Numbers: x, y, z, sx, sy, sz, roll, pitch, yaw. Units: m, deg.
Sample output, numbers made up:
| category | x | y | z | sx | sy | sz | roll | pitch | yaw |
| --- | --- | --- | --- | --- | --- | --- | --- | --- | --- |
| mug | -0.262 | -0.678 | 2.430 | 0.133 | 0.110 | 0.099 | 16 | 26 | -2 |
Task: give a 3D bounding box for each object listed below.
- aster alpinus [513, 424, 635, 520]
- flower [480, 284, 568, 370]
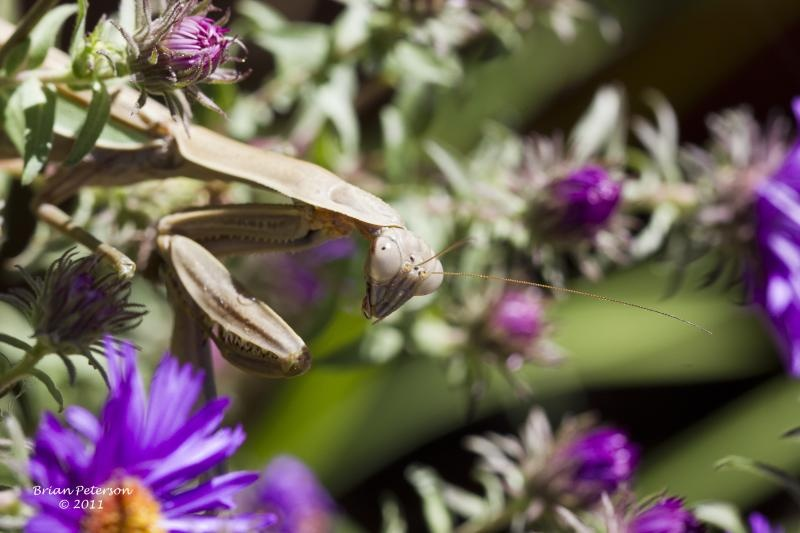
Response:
| category | x | y | z | sx | sy | sz | roll | pitch | yaw |
| --- | --- | --- | --- | --- | --- | --- | --- | --- | --- |
| aster alpinus | 0.183 | 0.210 | 0.888 | 0.103 | 0.054 | 0.083 | 15 | 46 | -13 |
| flower | 0.137 | 0.062 | 0.972 | 0.083 | 0.041 | 0.092 | -11 | 91 | 0 |
